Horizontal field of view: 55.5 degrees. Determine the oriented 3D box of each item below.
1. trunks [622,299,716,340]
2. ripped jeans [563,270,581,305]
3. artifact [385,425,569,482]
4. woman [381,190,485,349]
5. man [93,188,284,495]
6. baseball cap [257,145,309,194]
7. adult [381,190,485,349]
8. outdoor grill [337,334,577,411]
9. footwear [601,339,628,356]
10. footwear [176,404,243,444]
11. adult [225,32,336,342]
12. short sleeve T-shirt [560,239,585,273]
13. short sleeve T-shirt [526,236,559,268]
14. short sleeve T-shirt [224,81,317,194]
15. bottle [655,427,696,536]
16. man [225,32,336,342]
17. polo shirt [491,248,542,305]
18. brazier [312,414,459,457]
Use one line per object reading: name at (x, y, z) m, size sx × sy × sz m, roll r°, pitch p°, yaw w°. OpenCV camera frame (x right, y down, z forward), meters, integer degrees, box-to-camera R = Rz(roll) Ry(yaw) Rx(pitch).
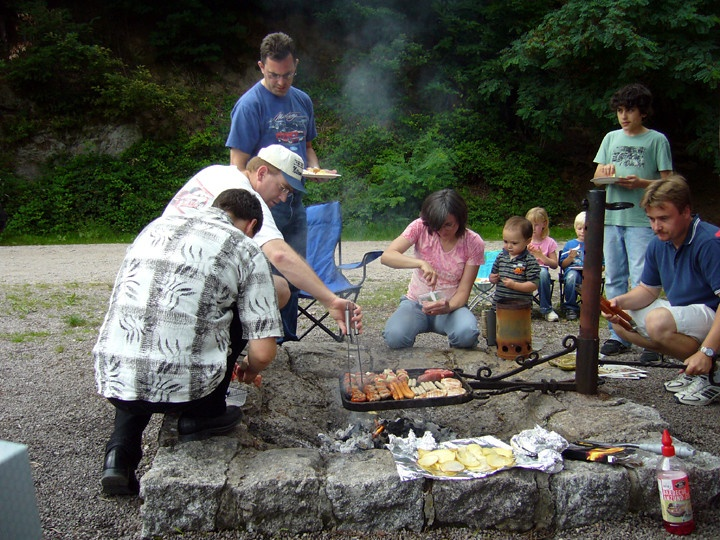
trunks at (2.216, 0.356, 4.874) m, size 0.442 × 0.286 × 0.458 m, roll 1°, pitch 8°, yaw 6°
ripped jeans at (2.187, 0.231, 7.033) m, size 0.175 × 0.258 × 0.164 m, roll 1°, pitch 10°, yaw 1°
artifact at (0.673, 1.042, 3.826) m, size 0.666 × 0.134 × 0.399 m, roll -2°, pitch 3°, yaw -7°
woman at (0.575, 0.039, 5.445) m, size 0.861 × 1.236 × 0.701 m, roll 2°, pitch 14°, yaw 4°
man at (-0.992, 0.411, 4.133) m, size 1.074 × 1.786 × 1.098 m, roll 10°, pitch 5°, yaw 16°
baseball cap at (-0.498, -0.731, 4.703) m, size 0.398 × 0.191 × 0.252 m, roll 33°, pitch 12°, yaw 16°
adult at (0.574, 0.033, 5.423) m, size 0.848 × 1.244 × 0.728 m, roll 0°, pitch 13°, yaw 0°
outdoor grill at (0.570, 0.736, 4.363) m, size 1.281 × 0.367 × 0.650 m, roll 0°, pitch -2°, yaw 3°
footwear at (2.076, 0.637, 5.661) m, size 0.282 × 0.119 × 0.101 m, roll 5°, pitch -4°, yaw -20°
footwear at (-0.873, 0.873, 4.066) m, size 0.366 × 0.241 × 0.151 m, roll -10°, pitch 13°, yaw -30°
adult at (-0.604, -0.535, 5.667) m, size 0.827 × 2.594 × 0.741 m, roll -11°, pitch 22°, yaw -35°
short sleeve T-shirt at (2.160, -0.130, 6.947) m, size 0.264 × 0.349 × 0.151 m, roll 3°, pitch -16°, yaw -4°
short sleeve T-shirt at (1.982, -0.168, 7.249) m, size 0.363 × 0.148 × 0.356 m, roll 3°, pitch 29°, yaw 5°
short sleeve T-shirt at (-0.586, -1.089, 5.563) m, size 0.865 × 0.807 × 0.408 m, roll -16°, pitch 5°, yaw -22°
bottle at (1.716, 1.138, 3.703) m, size 0.205 × 0.552 × 0.151 m, roll 3°, pitch 9°, yaw 21°
man at (-0.579, -0.556, 5.711) m, size 0.817 × 2.589 × 0.904 m, roll 19°, pitch 27°, yaw 34°
polo shirt at (1.376, 0.052, 6.015) m, size 0.510 × 0.565 × 0.324 m, roll -2°, pitch -13°, yaw 42°
brazier at (0.119, 1.033, 4.355) m, size 0.573 × 0.094 × 0.337 m, roll -3°, pitch 4°, yaw -18°
